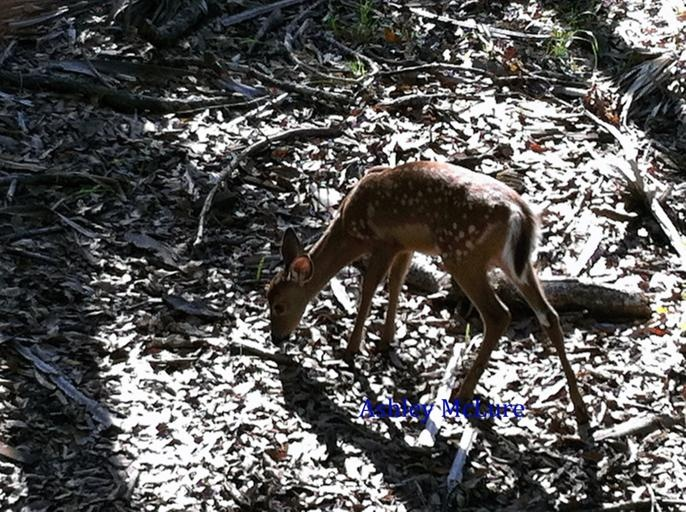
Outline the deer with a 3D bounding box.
[{"bbox_3d":[0.491,0.092,3.596,1.765,1.286,0.630,10,-11,21],"label":"deer"}]
